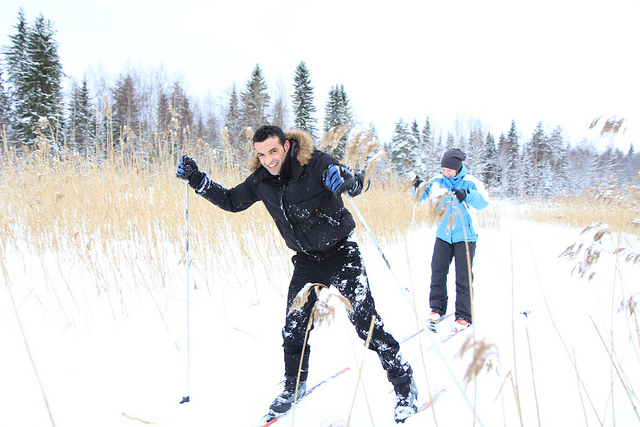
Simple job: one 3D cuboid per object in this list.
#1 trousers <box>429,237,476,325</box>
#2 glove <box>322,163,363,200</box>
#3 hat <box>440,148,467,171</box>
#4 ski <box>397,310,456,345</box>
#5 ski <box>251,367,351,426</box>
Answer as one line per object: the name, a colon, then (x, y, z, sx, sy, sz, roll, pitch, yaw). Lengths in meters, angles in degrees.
trousers: (2.564, 1.158, 10.223, 0.811, 2.417, 0.630, 4, 28, 15)
glove: (0.370, -0.522, 8.384, 0.439, 0.593, 0.213, 12, 38, 20)
hat: (2.497, -1.021, 10.022, 0.447, 0.384, 0.336, 7, 23, -20)
ski: (1.969, 2.092, 9.699, 1.712, 0.065, 0.174, -29, -12, -25)
ski: (-0.292, 3.048, 8.729, 1.816, 0.201, 0.131, -31, -9, -18)
